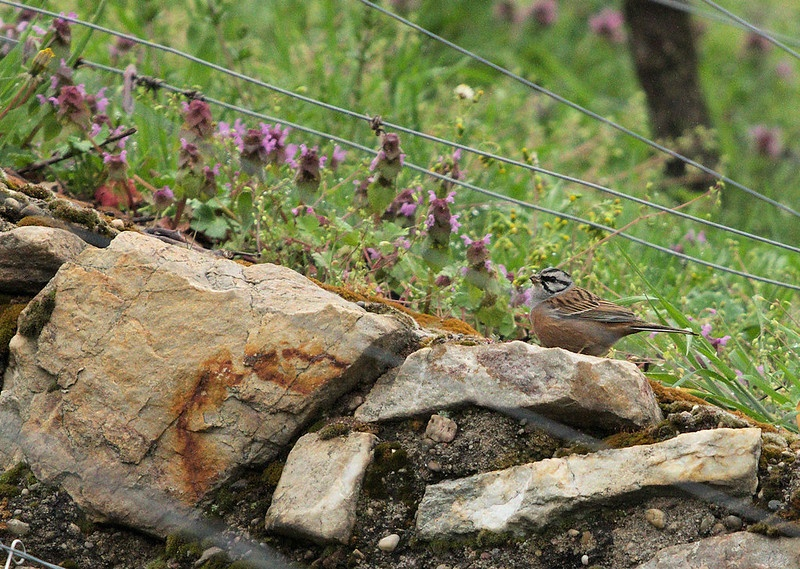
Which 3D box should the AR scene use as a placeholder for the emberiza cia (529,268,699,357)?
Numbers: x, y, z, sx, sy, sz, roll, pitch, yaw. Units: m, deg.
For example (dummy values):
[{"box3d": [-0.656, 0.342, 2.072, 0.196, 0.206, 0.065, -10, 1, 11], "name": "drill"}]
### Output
[{"box3d": [1.192, 0.157, 6.248, 0.939, 0.634, 0.406, -1, -2, 12], "name": "emberiza cia"}]
